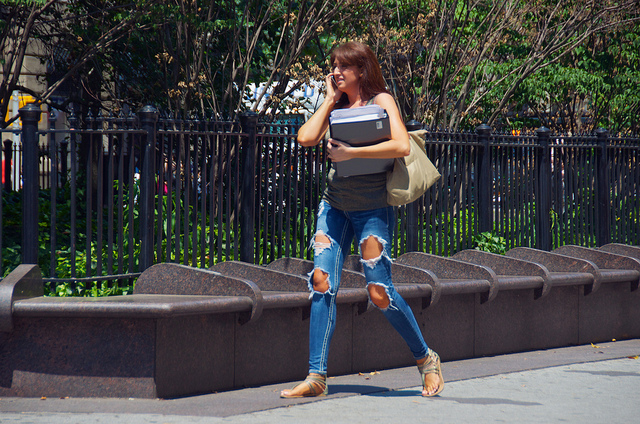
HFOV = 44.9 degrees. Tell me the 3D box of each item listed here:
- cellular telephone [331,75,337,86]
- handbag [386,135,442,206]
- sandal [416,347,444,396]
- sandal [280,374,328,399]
[{"bbox_3d":[0.135,-1.264,7.503,0.024,0.089,0.085,-16,1,2],"label":"cellular telephone"},{"bbox_3d":[0.927,-0.408,7.762,0.248,0.627,0.588,-20,10,40],"label":"handbag"},{"bbox_3d":[1.069,1.498,7.532,0.169,0.587,0.198,-13,-16,42],"label":"sandal"},{"bbox_3d":[-0.147,1.640,7.354,0.435,0.227,0.198,1,-4,-3],"label":"sandal"}]
